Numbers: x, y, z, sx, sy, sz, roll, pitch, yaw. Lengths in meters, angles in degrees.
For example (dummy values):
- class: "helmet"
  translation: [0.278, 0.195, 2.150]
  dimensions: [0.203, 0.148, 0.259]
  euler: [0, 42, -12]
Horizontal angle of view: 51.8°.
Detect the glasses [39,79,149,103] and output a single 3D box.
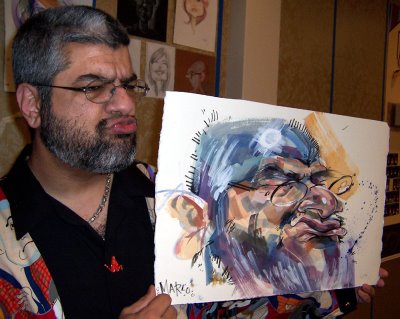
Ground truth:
- class: "glasses"
  translation: [-0.369, -0.220, 1.382]
  dimensions: [0.322, 0.082, 0.139]
  euler: [-6, 5, -29]
